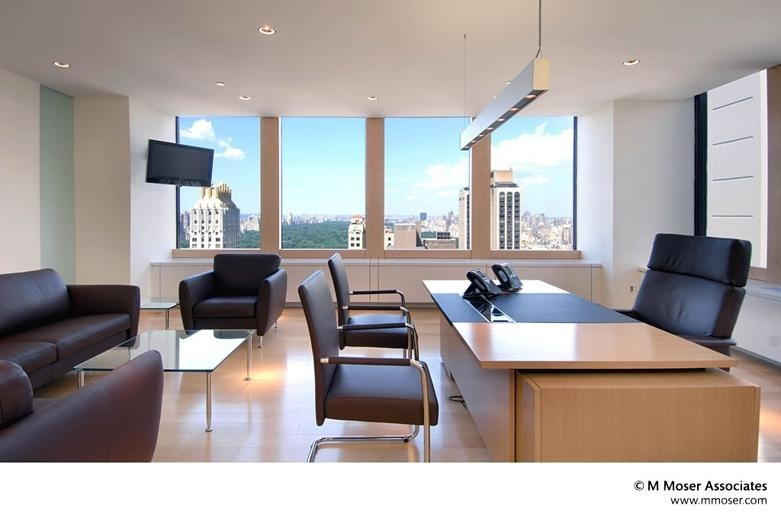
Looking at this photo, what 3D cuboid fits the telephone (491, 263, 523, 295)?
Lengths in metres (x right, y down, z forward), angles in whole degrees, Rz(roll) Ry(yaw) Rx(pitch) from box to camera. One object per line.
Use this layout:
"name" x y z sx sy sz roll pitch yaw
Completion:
"telephone" 1.090 0.238 5.387 0.234 0.308 0.101 -33 6 -39

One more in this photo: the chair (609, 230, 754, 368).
"chair" 2.763 0.311 5.022 1.136 1.281 1.064 1 4 -19

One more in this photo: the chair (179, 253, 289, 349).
"chair" -1.849 0.534 6.525 1.028 0.982 1.087 0 8 3

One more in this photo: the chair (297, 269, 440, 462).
"chair" -0.204 0.871 4.950 1.484 1.952 1.287 0 2 3

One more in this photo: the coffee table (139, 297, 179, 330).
"coffee table" -3.026 0.772 7.189 0.507 0.454 0.492 0 -1 -9

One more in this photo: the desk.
"desk" 1.377 1.014 4.130 2.273 1.031 1.361 4 9 34

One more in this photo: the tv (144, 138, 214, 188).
"tv" -3.125 -1.334 8.096 0.889 0.579 0.089 1 8 -40
